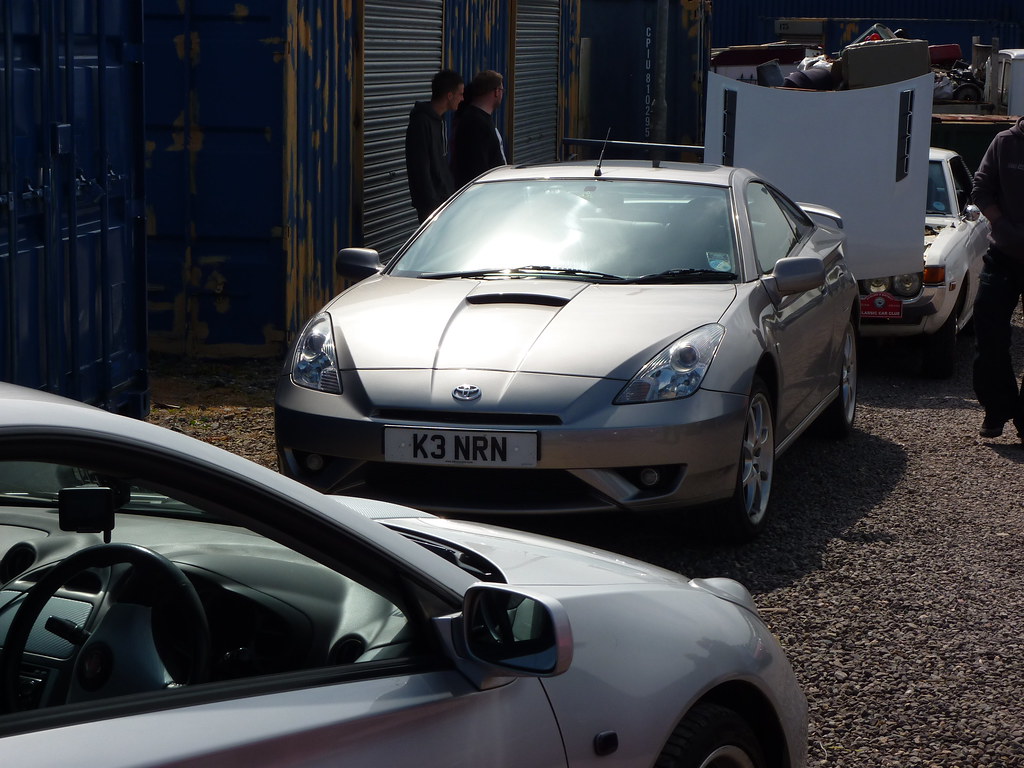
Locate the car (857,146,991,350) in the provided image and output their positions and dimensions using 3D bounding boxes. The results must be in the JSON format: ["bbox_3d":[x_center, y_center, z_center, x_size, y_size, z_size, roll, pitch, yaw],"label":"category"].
[{"bbox_3d":[4.032,-1.361,9.588,1.220,1.115,2.181,2,11,27],"label":"car"}]
